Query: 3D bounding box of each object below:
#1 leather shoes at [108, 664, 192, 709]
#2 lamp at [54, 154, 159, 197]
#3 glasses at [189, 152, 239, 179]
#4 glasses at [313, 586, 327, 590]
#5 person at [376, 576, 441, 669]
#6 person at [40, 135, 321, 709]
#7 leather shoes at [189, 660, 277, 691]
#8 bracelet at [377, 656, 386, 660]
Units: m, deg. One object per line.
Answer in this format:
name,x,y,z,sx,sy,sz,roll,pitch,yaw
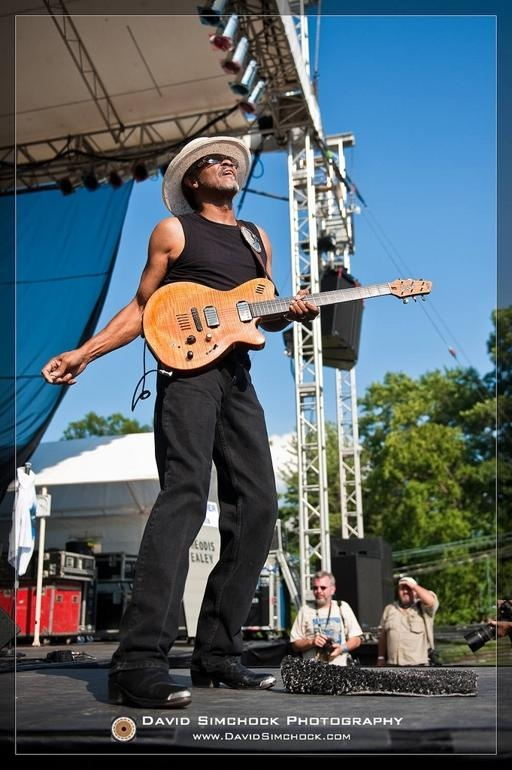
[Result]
leather shoes,-0.278,0.779,2.379,0.231,0.071,0.089,-16,-28,42
lamp,-2.275,-3.169,13.745,1.757,0.260,0.431,-10,10,-9
glasses,-0.154,-0.748,3.103,0.099,0.027,0.093,-22,-2,19
glasses,0.415,1.311,6.002,0.052,0.014,0.050,-2,-23,9
person,0.961,1.514,5.930,0.351,0.564,0.717,-1,-10,3
person,-0.194,0.008,2.882,0.568,1.844,0.731,-7,-12,36
leather shoes,-0.076,0.879,2.816,0.282,0.102,0.093,-1,-16,6
bracelet,0.811,1.783,6.056,0.039,0.027,0.039,-1,-12,9
